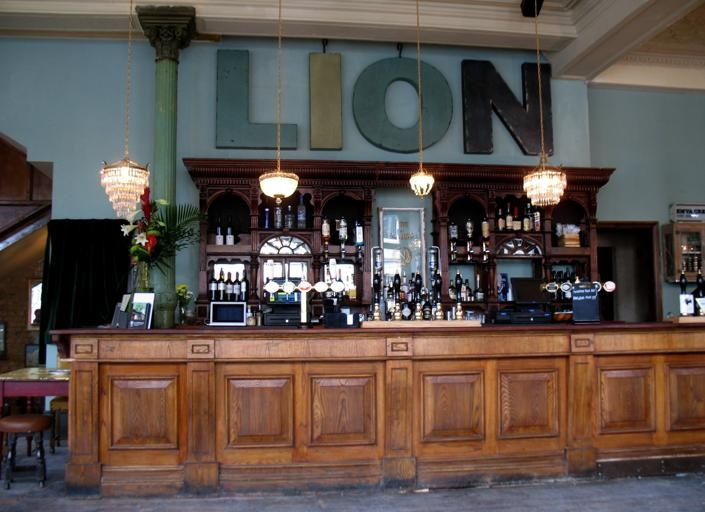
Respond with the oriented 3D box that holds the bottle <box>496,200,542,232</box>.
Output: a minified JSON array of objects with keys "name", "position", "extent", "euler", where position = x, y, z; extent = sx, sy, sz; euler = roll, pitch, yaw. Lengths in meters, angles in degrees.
[{"name":"bottle","position":[2.425,-0.574,11.796],"extent":[0.409,0.441,0.091],"euler":[2,-21,-3]}]

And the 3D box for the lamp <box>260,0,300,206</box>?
[{"name":"lamp","position":[-0.977,-2.118,10.913],"extent":[0.513,2.909,1.850],"euler":[-1,-4,-6]}]

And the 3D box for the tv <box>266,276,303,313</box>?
[{"name":"tv","position":[-0.837,0.448,9.738],"extent":[0.407,0.295,0.226],"euler":[-1,-4,-7]}]

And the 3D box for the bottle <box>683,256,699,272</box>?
[{"name":"bottle","position":[5.189,0.124,12.504],"extent":[0.210,0.349,0.242],"euler":[0,-7,4]}]

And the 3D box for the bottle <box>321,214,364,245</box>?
[{"name":"bottle","position":[-0.162,-0.366,11.585],"extent":[0.383,0.372,0.096],"euler":[0,-10,-2]}]

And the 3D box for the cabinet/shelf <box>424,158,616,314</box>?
[{"name":"cabinet/shelf","position":[2.226,-0.296,11.508],"extent":[1.970,2.071,0.559],"euler":[1,-7,-4]}]

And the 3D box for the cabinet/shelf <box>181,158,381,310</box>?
[{"name":"cabinet/shelf","position":[-1.042,-0.280,11.205],"extent":[1.883,1.491,0.393],"euler":[0,-6,-7]}]

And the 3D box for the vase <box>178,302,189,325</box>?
[{"name":"vase","position":[-2.331,0.795,11.192],"extent":[0.143,0.274,0.439],"euler":[0,-4,-13]}]

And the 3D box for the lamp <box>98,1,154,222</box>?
[{"name":"lamp","position":[-2.993,-1.954,10.661],"extent":[0.590,3.168,2.265],"euler":[0,-4,-17]}]

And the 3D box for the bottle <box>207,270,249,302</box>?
[{"name":"bottle","position":[-1.755,0.425,11.290],"extent":[0.385,0.414,0.087],"euler":[1,-3,2]}]

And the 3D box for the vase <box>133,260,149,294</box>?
[{"name":"vase","position":[-2.514,0.247,9.697],"extent":[0.151,0.349,0.291],"euler":[0,-4,-16]}]

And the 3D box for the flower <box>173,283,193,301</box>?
[{"name":"flower","position":[-2.240,0.469,10.670],"extent":[0.213,0.238,0.224],"euler":[7,5,31]}]

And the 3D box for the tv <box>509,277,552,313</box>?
[{"name":"tv","position":[2.223,0.478,10.179],"extent":[0.408,0.417,0.151],"euler":[2,-18,-8]}]
